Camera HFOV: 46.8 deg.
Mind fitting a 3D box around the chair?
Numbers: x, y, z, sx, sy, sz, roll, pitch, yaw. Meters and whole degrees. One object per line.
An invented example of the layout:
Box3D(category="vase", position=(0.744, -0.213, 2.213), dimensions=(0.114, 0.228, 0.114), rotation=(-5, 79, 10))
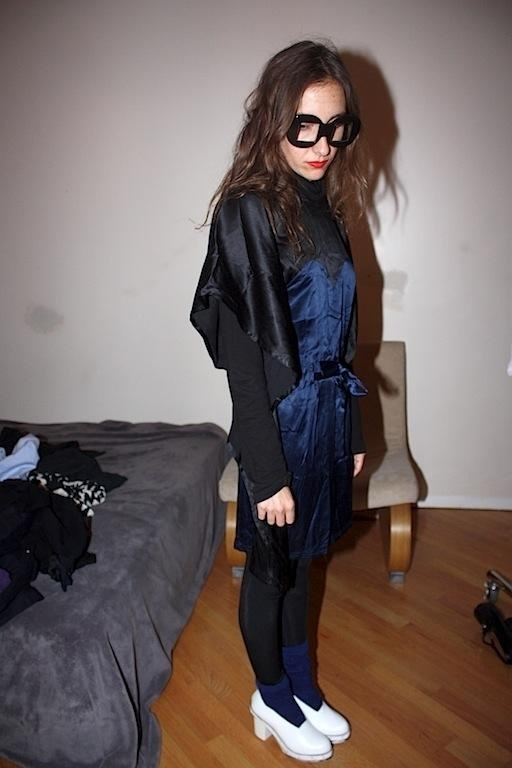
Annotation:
Box3D(category="chair", position=(0.316, 0.241, 2.489), dimensions=(0.688, 0.856, 0.981), rotation=(3, 7, 13))

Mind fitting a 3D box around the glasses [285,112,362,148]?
Box3D(category="glasses", position=(0.133, -0.486, 1.131), dimensions=(0.102, 0.044, 0.099), rotation=(-5, 16, -25))

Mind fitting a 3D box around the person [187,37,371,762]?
Box3D(category="person", position=(0.092, 0.113, 1.308), dimensions=(0.289, 1.601, 0.453), rotation=(10, 16, 42))
